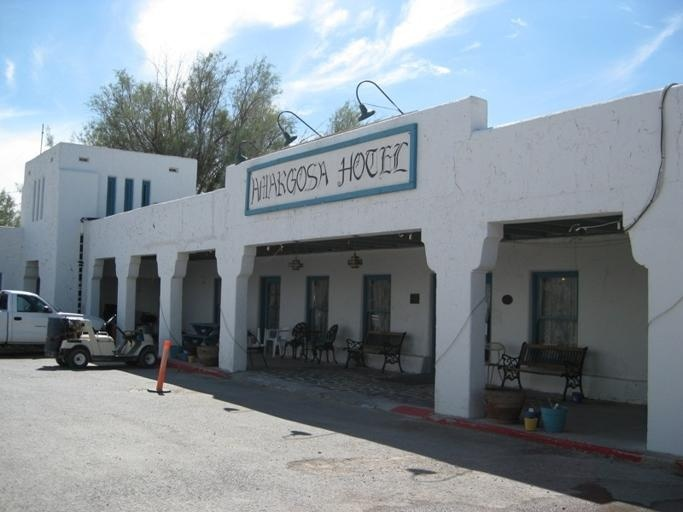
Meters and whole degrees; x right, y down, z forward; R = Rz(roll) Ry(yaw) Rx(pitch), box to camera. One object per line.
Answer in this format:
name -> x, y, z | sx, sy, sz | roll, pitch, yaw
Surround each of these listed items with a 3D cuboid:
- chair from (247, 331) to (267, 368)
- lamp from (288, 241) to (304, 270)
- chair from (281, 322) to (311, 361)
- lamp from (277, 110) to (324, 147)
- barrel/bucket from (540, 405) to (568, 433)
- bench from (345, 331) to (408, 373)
chair -> -2.667, 2.895, 17.830 | 0.765, 1.066, 0.752 | -1, 5, -29
lamp -> -1.543, 0.241, 19.097 | 0.445, 0.538, 0.469 | 2, 5, 4
chair -> -1.420, 2.743, 18.513 | 0.685, 1.130, 0.735 | 1, -8, 22
lamp -> -1.121, -3.209, 14.094 | 1.004, 0.974, 0.339 | -32, 18, -14
barrel/bucket -> 3.460, 2.620, 9.078 | 0.372, 0.427, 0.374 | 2, -7, 0
bench -> 0.959, 2.744, 16.257 | 0.759, 1.182, 2.011 | 9, -9, -31
